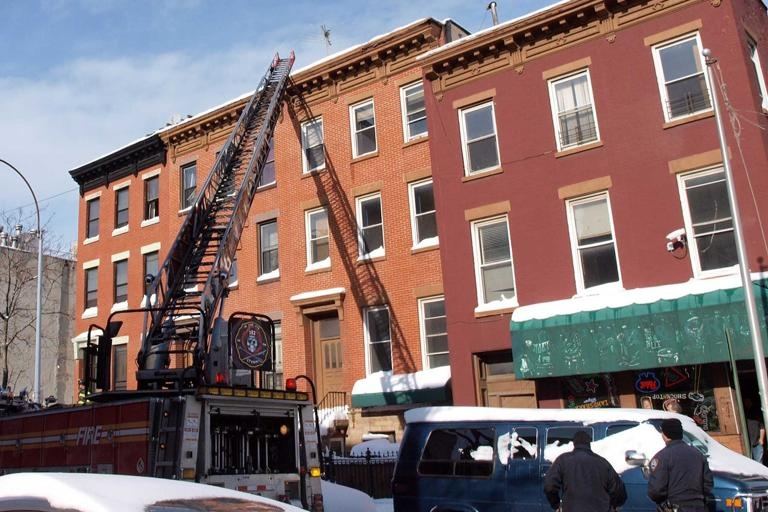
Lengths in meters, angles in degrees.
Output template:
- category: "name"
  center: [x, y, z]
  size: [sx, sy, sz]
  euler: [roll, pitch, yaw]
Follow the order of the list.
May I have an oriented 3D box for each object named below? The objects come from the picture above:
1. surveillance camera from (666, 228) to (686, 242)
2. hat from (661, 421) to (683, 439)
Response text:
- category: "surveillance camera"
  center: [8.041, -0.592, 21.811]
  size: [0.292, 0.122, 0.411]
  euler: [-7, -9, -12]
- category: "hat"
  center: [4.911, 2.971, 13.544]
  size: [0.271, 0.290, 0.347]
  euler: [11, 24, 19]
